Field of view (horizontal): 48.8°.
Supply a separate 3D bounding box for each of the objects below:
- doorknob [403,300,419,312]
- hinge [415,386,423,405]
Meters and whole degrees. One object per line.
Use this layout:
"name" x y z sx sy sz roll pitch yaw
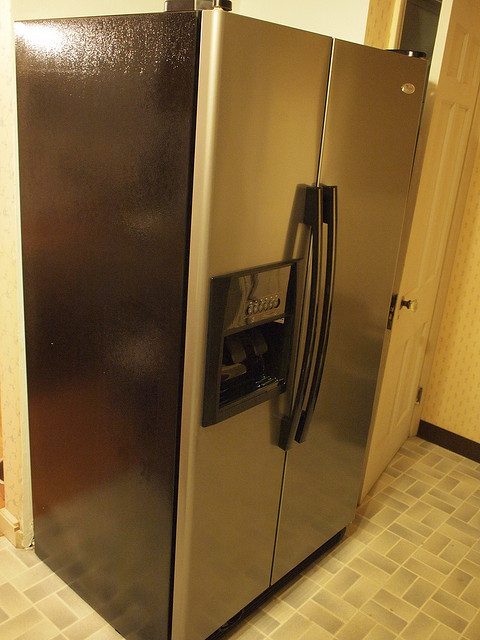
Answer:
"doorknob" 0.708 -0.060 2.206 0.058 0.042 0.042 9 29 28
"hinge" 0.983 0.424 2.920 0.018 0.080 0.080 6 2 16
